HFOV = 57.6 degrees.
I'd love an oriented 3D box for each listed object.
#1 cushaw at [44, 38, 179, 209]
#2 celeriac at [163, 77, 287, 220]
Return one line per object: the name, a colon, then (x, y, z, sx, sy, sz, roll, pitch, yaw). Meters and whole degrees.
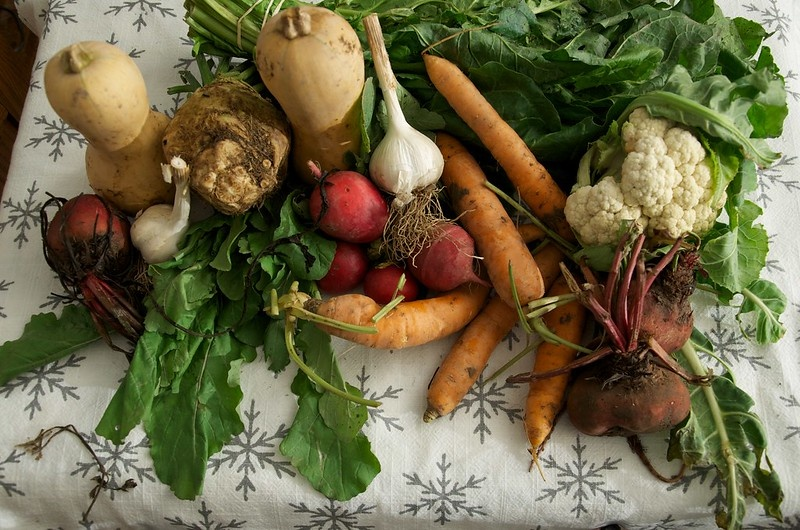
cushaw: (-0.702, -0.323, 1.750, 0.234, 0.385, 0.218, 39, 71, 16)
celeriac: (-0.403, -0.283, 1.673, 0.256, 0.335, 0.197, -5, -8, -6)
